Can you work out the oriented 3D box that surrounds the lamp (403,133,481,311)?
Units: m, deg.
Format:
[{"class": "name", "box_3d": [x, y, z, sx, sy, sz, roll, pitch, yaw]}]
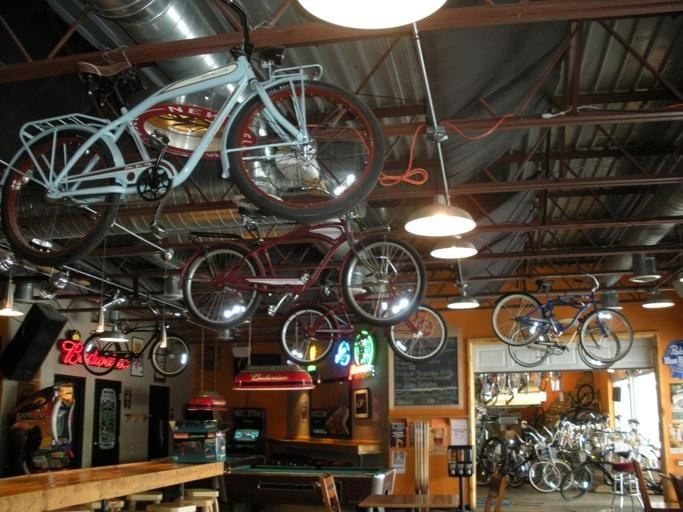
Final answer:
[{"class": "lamp", "box_3d": [1.234, -0.038, 7.464, 1.153, 0.944, 2.770, -2, -32, 11]}]

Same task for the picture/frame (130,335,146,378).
[{"class": "picture/frame", "box_3d": [-5.228, 2.608, 15.697, 0.022, 0.945, 0.713, 5, -8, -44]}]

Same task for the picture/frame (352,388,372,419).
[{"class": "picture/frame", "box_3d": [0.508, 3.555, 14.625, 0.091, 0.785, 0.979, 13, -15, -37]}]

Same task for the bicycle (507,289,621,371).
[{"class": "bicycle", "box_3d": [4.138, 1.171, 11.424, 1.249, 1.244, 2.733, 2, 3, -44]}]
